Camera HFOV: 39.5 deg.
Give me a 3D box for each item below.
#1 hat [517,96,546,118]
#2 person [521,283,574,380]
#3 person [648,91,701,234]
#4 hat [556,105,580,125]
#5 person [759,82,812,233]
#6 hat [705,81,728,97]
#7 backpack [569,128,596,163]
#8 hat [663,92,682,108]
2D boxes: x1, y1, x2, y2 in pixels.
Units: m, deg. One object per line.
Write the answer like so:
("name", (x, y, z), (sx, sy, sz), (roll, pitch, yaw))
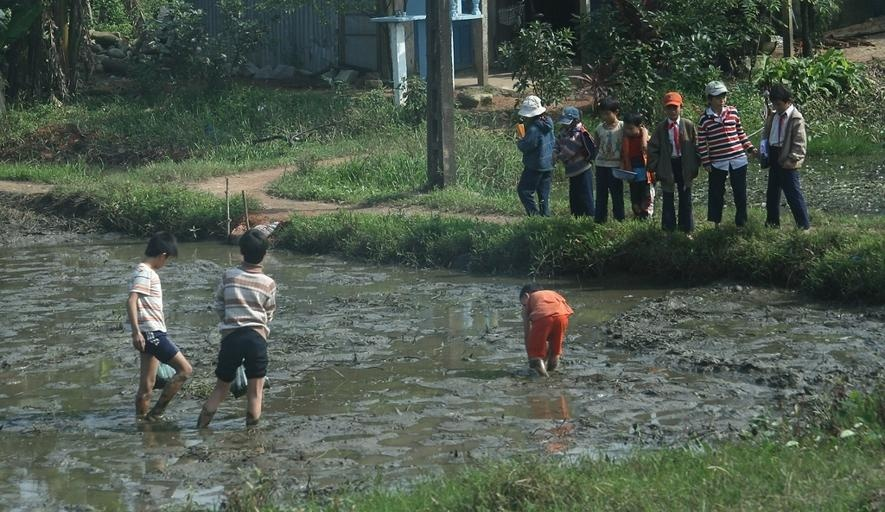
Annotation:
("hat", (1.946, -3.319, 27.108), (0.500, 0.298, 0.551), (-4, 18, -2))
("person", (1.905, 1.380, 22.920), (0.839, 1.625, 0.389), (-2, 7, 4))
("person", (4.821, -1.958, 25.749), (1.036, 2.963, 0.620), (-1, 8, 10))
("hat", (2.793, -3.062, 26.515), (0.334, 0.295, 0.513), (11, 15, 43))
("person", (7.018, -2.071, 25.393), (0.888, 3.008, 0.828), (0, 8, 17))
("hat", (5.556, -3.435, 25.428), (0.360, 0.270, 0.478), (-15, 8, -25))
("backpack", (3.072, -2.443, 26.345), (0.227, 0.646, 0.466), (-34, 5, -17))
("hat", (4.777, -3.320, 25.602), (0.341, 0.294, 0.491), (0, -3, 13))
